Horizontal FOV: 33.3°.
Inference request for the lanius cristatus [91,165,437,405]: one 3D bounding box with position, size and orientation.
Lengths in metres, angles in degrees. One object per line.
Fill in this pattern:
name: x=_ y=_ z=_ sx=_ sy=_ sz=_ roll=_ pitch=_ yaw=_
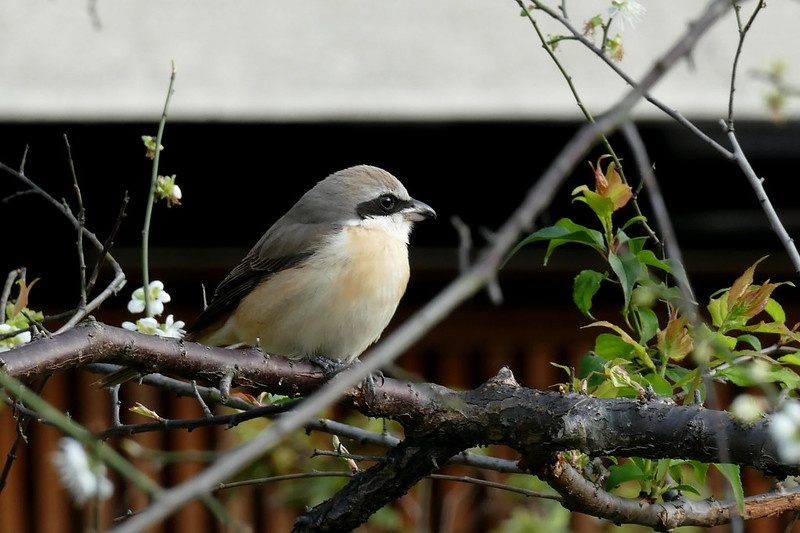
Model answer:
lanius cristatus: x=-0.691 y=0.052 z=7.659 sx=1.766 sy=1.115 sz=0.859 roll=-5 pitch=-9 yaw=11
